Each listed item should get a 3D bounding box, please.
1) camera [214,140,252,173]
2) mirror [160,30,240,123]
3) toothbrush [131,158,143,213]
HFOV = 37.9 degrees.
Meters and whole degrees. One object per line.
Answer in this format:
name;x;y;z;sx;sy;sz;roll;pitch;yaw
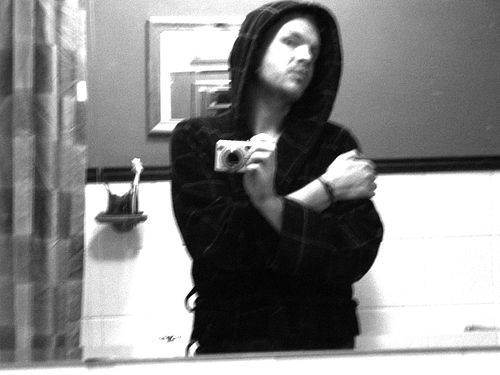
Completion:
camera;-0.036;-0.094;2.400;0.132;0.095;0.070;8;11;29
mirror;-0.148;-0.366;2.380;0.385;0.345;0.028;0;3;1
toothbrush;-0.369;-0.005;2.406;0.035;0.179;0.047;3;13;-11
